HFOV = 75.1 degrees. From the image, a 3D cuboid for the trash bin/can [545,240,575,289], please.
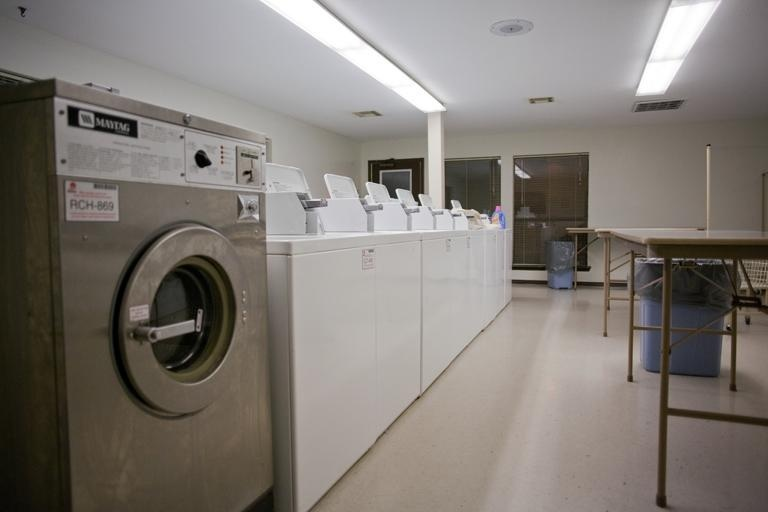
[{"bbox_3d":[2.678,0.138,7.591,0.381,0.712,0.282,2,12,14],"label":"trash bin/can"}]
